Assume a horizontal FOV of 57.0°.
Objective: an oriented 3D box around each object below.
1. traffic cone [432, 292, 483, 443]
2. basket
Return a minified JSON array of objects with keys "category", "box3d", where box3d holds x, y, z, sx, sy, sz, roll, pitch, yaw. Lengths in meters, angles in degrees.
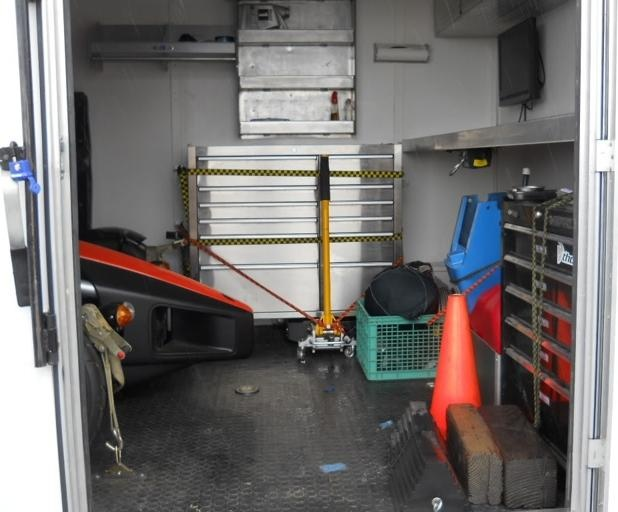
[{"category":"traffic cone","box3d":[0.866,0.622,3.360,0.261,0.756,0.260,-2,8,-13]},{"category":"basket","box3d":[0.693,0.619,4.333,0.485,0.362,0.530,2,9,-5]}]
